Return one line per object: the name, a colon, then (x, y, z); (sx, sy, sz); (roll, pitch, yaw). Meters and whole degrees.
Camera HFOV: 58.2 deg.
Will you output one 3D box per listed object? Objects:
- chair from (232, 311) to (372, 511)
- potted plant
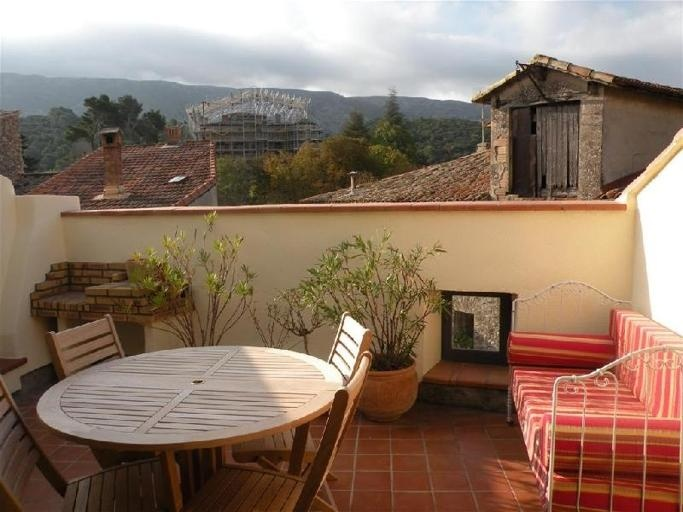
chair: (-0.121, 0.943, 4.449); (1.121, 1.693, 0.999); (3, 4, -5)
potted plant: (0.368, 0.502, 5.611); (1.527, 1.905, 1.396); (-1, 2, -4)
